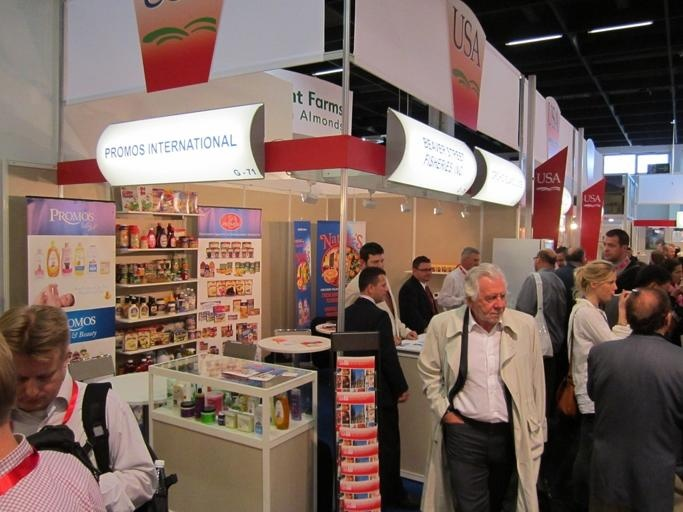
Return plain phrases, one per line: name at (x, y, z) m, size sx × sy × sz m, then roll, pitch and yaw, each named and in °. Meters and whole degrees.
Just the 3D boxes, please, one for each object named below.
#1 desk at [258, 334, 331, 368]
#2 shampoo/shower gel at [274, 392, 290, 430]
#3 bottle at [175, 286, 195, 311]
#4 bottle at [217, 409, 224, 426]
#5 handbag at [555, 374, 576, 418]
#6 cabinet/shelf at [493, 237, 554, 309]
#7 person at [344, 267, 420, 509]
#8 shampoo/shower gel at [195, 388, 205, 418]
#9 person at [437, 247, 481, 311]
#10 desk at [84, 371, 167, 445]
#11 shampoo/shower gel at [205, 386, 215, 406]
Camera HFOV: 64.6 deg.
desk at (-0.558, 1.093, 5.998) m, size 0.747 × 0.392 × 1.374 m, roll 0°, pitch -2°, yaw -9°
shampoo/shower gel at (-0.418, 1.075, 3.722) m, size 0.105 × 0.252 × 0.053 m, roll 0°, pitch -2°, yaw -17°
bottle at (-2.016, 0.546, 6.946) m, size 0.290 × 0.460 × 0.227 m, roll 1°, pitch 7°, yaw -20°
bottle at (-0.854, 1.149, 3.819) m, size 0.073 × 0.092 × 0.079 m, roll 1°, pitch -4°, yaw 0°
handbag at (1.826, 1.113, 4.334) m, size 0.101 × 0.338 × 0.279 m, roll 0°, pitch -2°, yaw -8°
cabinet/shelf at (2.312, 0.280, 6.923) m, size 0.765 × 1.252 × 0.823 m, roll -1°, pitch 24°, yaw 15°
person at (0.287, 1.075, 4.352) m, size 0.540 × 1.981 × 0.902 m, roll -1°, pitch -2°, yaw 24°
shampoo/shower gel at (-1.043, 1.080, 3.962) m, size 0.056 × 0.205 × 0.148 m, roll 1°, pitch -3°, yaw -38°
person at (1.406, 0.267, 6.506) m, size 0.286 × 0.996 × 0.467 m, roll 14°, pitch 39°, yaw 14°
desk at (-1.804, 1.185, 4.683) m, size 0.664 × 0.478 × 0.700 m, roll 0°, pitch 0°, yaw -23°
shampoo/shower gel at (-0.973, 1.019, 3.945) m, size 0.056 × 0.129 × 0.088 m, roll 0°, pitch -2°, yaw -15°
